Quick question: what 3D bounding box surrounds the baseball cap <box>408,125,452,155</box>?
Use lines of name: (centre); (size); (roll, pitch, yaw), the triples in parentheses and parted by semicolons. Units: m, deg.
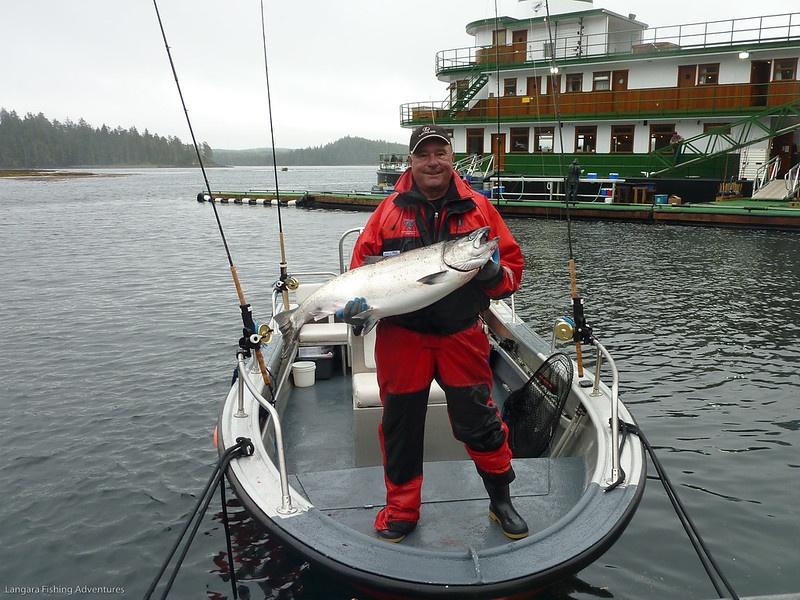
baseball cap: (0.175, -0.989, 3.327); (0.244, 0.178, 0.256); (-2, 12, 2)

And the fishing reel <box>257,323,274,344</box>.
fishing reel: (-1.178, 0.287, 4.709); (0.051, 0.151, 0.153); (-1, 25, 40)

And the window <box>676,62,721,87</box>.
window: (11.680, -8.842, 21.324); (1.451, 0.768, 0.139); (1, 13, 16)

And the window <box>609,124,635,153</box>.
window: (9.323, -6.832, 22.773); (1.155, 1.401, 0.077); (7, 15, 31)

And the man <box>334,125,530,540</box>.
man: (0.217, 0.229, 3.246); (1.165, 2.540, 1.037); (0, 3, 2)

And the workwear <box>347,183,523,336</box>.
workwear: (0.216, -0.340, 3.431); (1.040, 0.970, 0.593); (4, 14, 3)

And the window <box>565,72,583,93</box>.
window: (7.497, -9.407, 23.402); (0.944, 1.042, 0.361); (4, 15, 21)

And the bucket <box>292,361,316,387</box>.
bucket: (-1.119, 0.851, 6.385); (0.278, 0.225, 0.267); (1, 7, 0)

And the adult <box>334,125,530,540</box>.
adult: (0.191, 0.231, 3.307); (1.160, 2.572, 1.021); (0, 3, 12)

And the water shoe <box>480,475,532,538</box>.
water shoe: (0.664, 1.287, 3.433); (0.147, 0.318, 0.336); (-14, 23, -21)

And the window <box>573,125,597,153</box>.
window: (8.019, -6.999, 23.473); (1.107, 1.350, 0.070); (14, 25, 41)
